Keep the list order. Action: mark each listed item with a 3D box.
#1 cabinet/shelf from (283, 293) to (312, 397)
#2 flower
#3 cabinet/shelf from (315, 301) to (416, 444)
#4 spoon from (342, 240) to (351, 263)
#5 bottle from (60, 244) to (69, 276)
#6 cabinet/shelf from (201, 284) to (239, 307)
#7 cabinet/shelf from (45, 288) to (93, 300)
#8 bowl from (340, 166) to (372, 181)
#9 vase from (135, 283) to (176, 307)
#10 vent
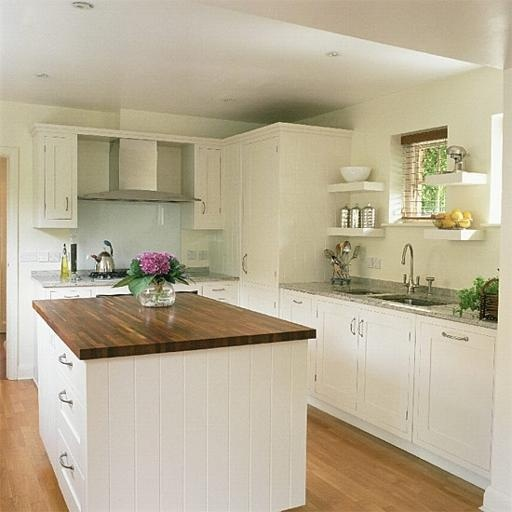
[{"bbox_3d":[0.364,0.727,4.028,0.138,0.872,0.474,0,2,-21],"label":"cabinet/shelf"},{"bbox_3d":[-0.609,0.044,2.702,0.319,0.132,0.314,-7,10,-44],"label":"flower"},{"bbox_3d":[0.919,0.770,3.500,0.484,0.888,1.154,2,-1,-27],"label":"cabinet/shelf"},{"bbox_3d":[0.835,-0.042,4.349,0.067,0.225,0.029,17,32,24],"label":"spoon"},{"bbox_3d":[-1.861,0.036,4.641,0.088,0.327,0.373,0,1,-22],"label":"bottle"},{"bbox_3d":[-0.356,0.338,4.853,0.367,0.302,0.231,-1,3,-25],"label":"cabinet/shelf"},{"bbox_3d":[-1.609,0.318,4.120,0.347,0.091,0.091,0,1,-21],"label":"cabinet/shelf"},{"bbox_3d":[0.871,-0.688,4.147,0.185,0.070,0.172,0,-2,0],"label":"bowl"},{"bbox_3d":[-0.572,0.234,2.794,0.184,0.114,0.168,0,1,-9],"label":"vase"},{"bbox_3d":[-1.128,-0.761,4.521,1.135,0.610,0.704,1,-4,-24],"label":"vent"}]
